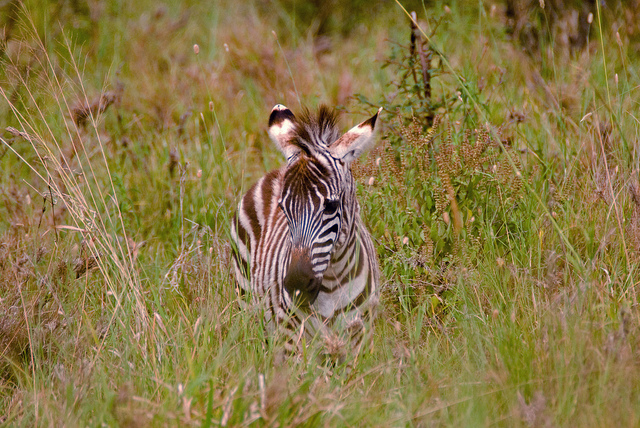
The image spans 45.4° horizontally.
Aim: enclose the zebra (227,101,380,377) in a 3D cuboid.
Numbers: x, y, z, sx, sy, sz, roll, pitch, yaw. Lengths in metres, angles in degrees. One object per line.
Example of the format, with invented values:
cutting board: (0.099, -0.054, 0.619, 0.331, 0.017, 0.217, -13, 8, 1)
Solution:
zebra: (0.049, 0.350, 6.201, 0.885, 2.512, 3.054, -2, 9, 2)
